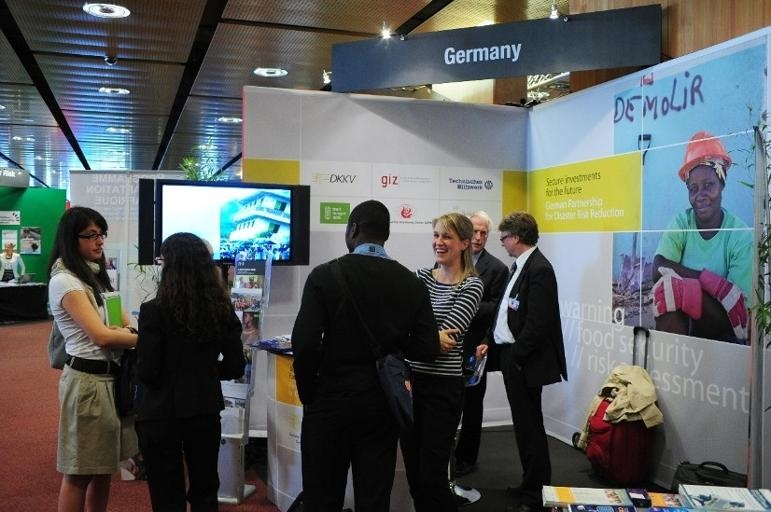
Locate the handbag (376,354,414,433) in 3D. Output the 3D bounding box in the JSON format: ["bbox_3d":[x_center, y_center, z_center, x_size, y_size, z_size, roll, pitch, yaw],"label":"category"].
[{"bbox_3d":[0.070,0.774,3.056,0.124,0.382,0.280,-11,0,24],"label":"handbag"}]

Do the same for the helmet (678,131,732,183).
[{"bbox_3d":[2.646,-0.855,4.477,0.328,0.227,0.301,-6,-12,30],"label":"helmet"}]

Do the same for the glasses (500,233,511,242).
[{"bbox_3d":[0.983,-0.151,4.461,0.017,0.057,0.056,-40,11,-22],"label":"glasses"}]

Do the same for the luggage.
[{"bbox_3d":[2.022,1.566,4.720,0.539,0.817,0.335,2,4,27],"label":"luggage"}]

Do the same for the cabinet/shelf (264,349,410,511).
[{"bbox_3d":[-0.322,1.328,4.713,1.190,1.306,1.197,0,2,0],"label":"cabinet/shelf"}]

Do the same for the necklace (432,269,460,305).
[{"bbox_3d":[0.425,0.228,3.801,0.230,0.209,0.085,3,-9,-7],"label":"necklace"}]

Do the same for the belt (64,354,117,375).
[{"bbox_3d":[-1.908,0.722,3.558,0.205,0.075,0.159,1,-3,7],"label":"belt"}]

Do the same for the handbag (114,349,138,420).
[{"bbox_3d":[-1.701,0.840,3.577,0.138,0.419,0.295,-2,0,-4],"label":"handbag"}]
